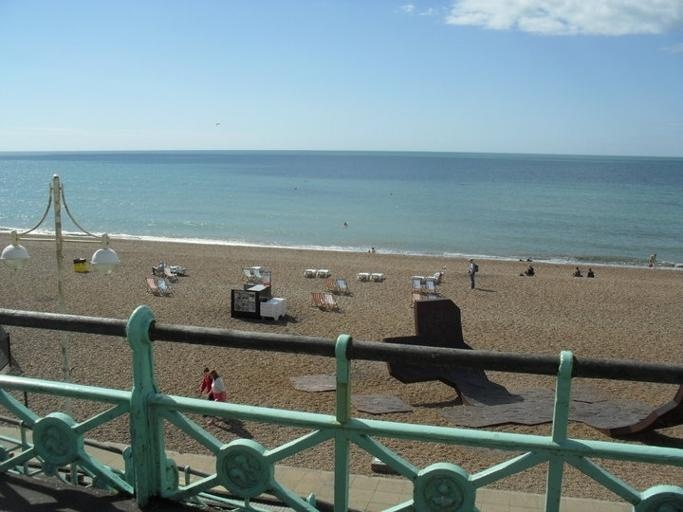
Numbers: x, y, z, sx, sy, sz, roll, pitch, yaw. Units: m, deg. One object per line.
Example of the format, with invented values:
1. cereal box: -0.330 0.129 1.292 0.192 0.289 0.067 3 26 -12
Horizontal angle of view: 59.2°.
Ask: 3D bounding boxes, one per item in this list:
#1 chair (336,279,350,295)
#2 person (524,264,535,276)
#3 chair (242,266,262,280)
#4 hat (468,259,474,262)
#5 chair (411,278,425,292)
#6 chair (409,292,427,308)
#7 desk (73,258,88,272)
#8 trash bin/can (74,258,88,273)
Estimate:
1. chair: 0.078 1.336 25.376 0.579 0.644 0.795 -10 -6 -1
2. person: 10.568 0.821 33.738 0.453 0.493 1.069 -7 5 13
3. chair: -4.027 0.796 27.146 1.127 0.526 1.045 -8 -5 33
4. hat: 7.155 0.243 33.103 0.327 0.256 0.341 0 3 1
5. chair: 3.247 1.182 25.625 0.557 0.569 0.707 -9 13 -36
6. chair: 2.552 1.461 20.024 0.676 0.602 1.021 1 4 12
7. desk: -11.952 0.440 27.648 0.903 0.626 0.769 0 5 -11
8. trash bin/can: -11.989 0.419 27.657 0.937 0.648 0.801 0 5 -10
